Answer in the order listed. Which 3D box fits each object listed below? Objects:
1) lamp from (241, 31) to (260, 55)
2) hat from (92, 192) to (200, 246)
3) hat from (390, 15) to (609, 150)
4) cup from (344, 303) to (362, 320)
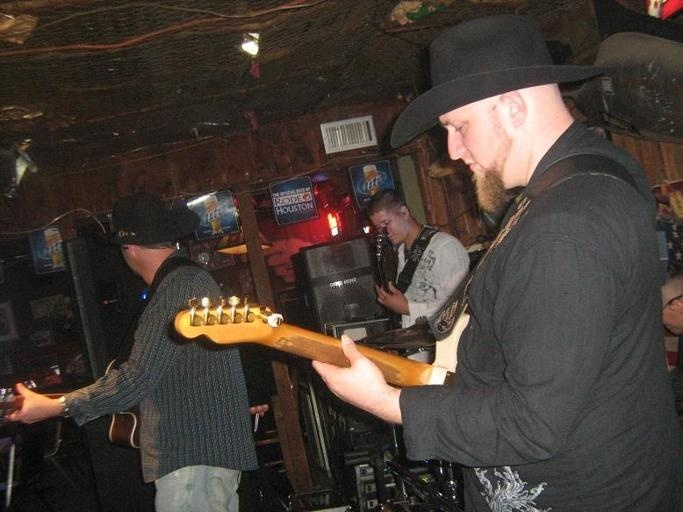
[{"bbox_3d":[-0.631,-1.485,4.458,0.133,0.029,0.116,-5,-32,0],"label":"lamp"},{"bbox_3d":[-1.273,-0.188,4.158,0.588,0.174,0.439,0,30,5],"label":"hat"},{"bbox_3d":[0.655,-0.777,2.850,0.788,0.238,0.527,-14,6,4],"label":"hat"},{"bbox_3d":[0.104,0.521,5.939,0.165,0.125,0.144,-4,-3,5],"label":"cup"}]
